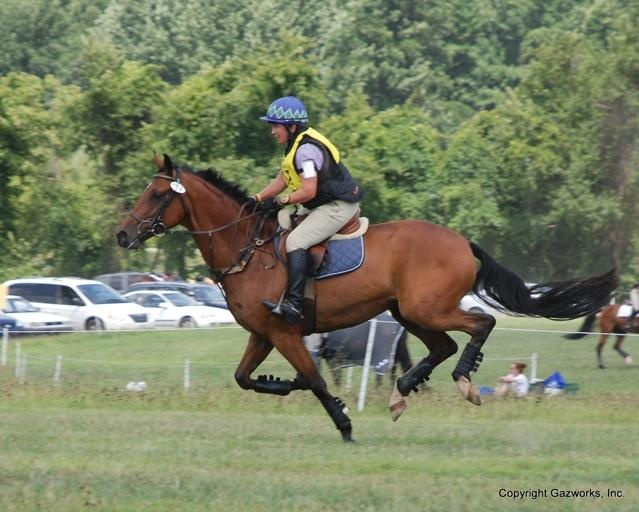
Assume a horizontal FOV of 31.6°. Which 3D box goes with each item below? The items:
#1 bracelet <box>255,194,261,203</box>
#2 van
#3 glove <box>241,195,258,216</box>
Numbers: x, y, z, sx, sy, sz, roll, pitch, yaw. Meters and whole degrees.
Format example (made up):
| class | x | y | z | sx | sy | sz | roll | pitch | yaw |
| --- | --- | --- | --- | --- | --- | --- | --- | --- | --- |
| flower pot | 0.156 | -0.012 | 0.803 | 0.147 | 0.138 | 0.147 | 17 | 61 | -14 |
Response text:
| class | x | y | z | sx | sy | sz | roll | pitch | yaw |
| --- | --- | --- | --- | --- | --- | --- | --- | --- | --- |
| bracelet | -1.330 | -1.175 | 22.732 | 0.159 | 0.119 | 0.095 | -1 | 6 | -3 |
| van | -7.270 | 1.433 | 34.421 | 4.696 | 0.969 | 1.750 | 0 | 0 | 16 |
| glove | -1.471 | -1.030 | 22.638 | 0.424 | 0.317 | 0.150 | 2 | 9 | 1 |
